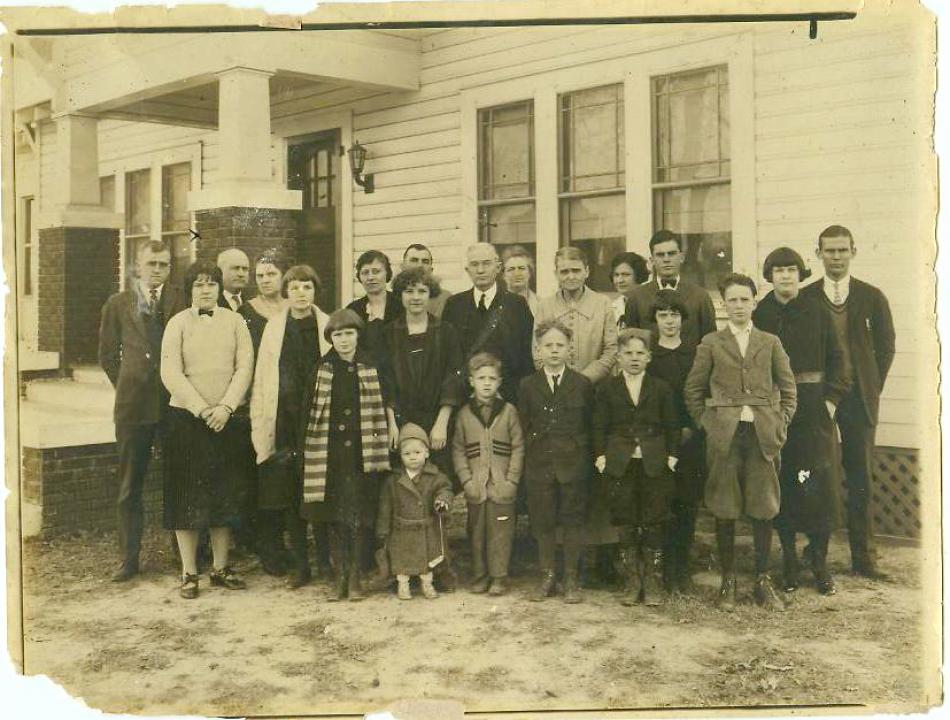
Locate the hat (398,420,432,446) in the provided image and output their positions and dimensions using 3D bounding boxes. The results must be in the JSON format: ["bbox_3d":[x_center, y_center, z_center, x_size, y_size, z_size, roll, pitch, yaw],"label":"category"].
[{"bbox_3d":[-0.423,0.506,8.082,0.143,0.125,0.191,-3,-24,0],"label":"hat"}]

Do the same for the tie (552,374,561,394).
[{"bbox_3d":[0.561,0.154,8.027,0.077,0.100,0.030,-3,-12,20],"label":"tie"}]

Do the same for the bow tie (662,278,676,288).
[{"bbox_3d":[1.394,-0.552,8.393,0.087,0.077,0.020,0,-22,11],"label":"bow tie"}]

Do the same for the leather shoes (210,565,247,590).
[{"bbox_3d":[-1.742,1.539,8.284,0.255,0.100,0.131,-2,0,28],"label":"leather shoes"}]

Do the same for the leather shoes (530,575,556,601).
[{"bbox_3d":[0.473,1.572,8.026,0.095,0.166,0.261,1,-6,37],"label":"leather shoes"}]

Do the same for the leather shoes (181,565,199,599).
[{"bbox_3d":[-2.002,1.562,8.213,0.140,0.183,0.164,1,-2,-14],"label":"leather shoes"}]

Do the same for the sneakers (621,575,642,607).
[{"bbox_3d":[1.013,1.564,7.938,0.115,0.197,0.220,-4,-2,44],"label":"sneakers"}]

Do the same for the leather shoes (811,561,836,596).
[{"bbox_3d":[2.386,1.505,8.004,0.092,0.292,0.165,-16,-37,16],"label":"leather shoes"}]

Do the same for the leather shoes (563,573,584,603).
[{"bbox_3d":[0.670,1.565,7.988,0.108,0.150,0.210,-4,-8,3],"label":"leather shoes"}]

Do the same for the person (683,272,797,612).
[{"bbox_3d":[1.796,0.535,7.923,0.730,2.224,0.266,0,-2,14],"label":"person"}]

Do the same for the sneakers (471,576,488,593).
[{"bbox_3d":[0.042,1.561,8.123,0.119,0.112,0.075,1,-1,-3],"label":"sneakers"}]

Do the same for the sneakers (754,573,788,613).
[{"bbox_3d":[1.979,1.574,7.883,0.175,0.265,0.119,-14,-44,-8],"label":"sneakers"}]

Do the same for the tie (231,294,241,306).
[{"bbox_3d":[-1.721,-0.432,8.459,0.066,0.058,0.015,6,-30,-24],"label":"tie"}]

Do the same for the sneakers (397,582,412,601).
[{"bbox_3d":[-0.483,1.583,8.026,0.104,0.115,0.121,0,-9,-15],"label":"sneakers"}]

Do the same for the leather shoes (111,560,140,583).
[{"bbox_3d":[-2.480,1.505,8.345,0.196,0.178,0.100,8,-7,-8],"label":"leather shoes"}]

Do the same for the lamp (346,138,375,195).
[{"bbox_3d":[-1.069,-1.776,10.766,0.213,0.488,0.260,2,-2,-37],"label":"lamp"}]

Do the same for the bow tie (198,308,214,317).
[{"bbox_3d":[-1.888,-0.337,8.224,0.102,0.053,0.011,1,-1,-8],"label":"bow tie"}]

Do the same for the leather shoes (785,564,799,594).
[{"bbox_3d":[2.162,1.487,8.010,0.076,0.208,0.092,7,-2,13],"label":"leather shoes"}]

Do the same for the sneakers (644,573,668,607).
[{"bbox_3d":[1.229,1.551,7.931,0.168,0.215,0.101,1,-1,-7],"label":"sneakers"}]

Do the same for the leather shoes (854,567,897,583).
[{"bbox_3d":[2.769,1.467,8.066,0.253,0.079,0.085,6,8,15],"label":"leather shoes"}]

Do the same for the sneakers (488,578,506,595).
[{"bbox_3d":[0.158,1.565,8.106,0.112,0.108,0.094,0,-1,4],"label":"sneakers"}]

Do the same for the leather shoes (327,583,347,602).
[{"bbox_3d":[-0.979,1.600,8.120,0.116,0.113,0.199,1,-2,-33],"label":"leather shoes"}]

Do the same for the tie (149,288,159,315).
[{"bbox_3d":[-2.275,-0.420,8.309,0.068,0.173,0.028,1,-1,-6],"label":"tie"}]
